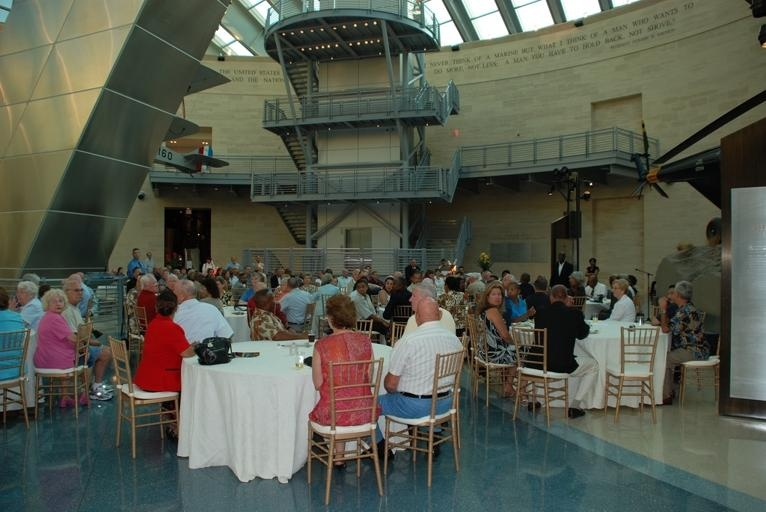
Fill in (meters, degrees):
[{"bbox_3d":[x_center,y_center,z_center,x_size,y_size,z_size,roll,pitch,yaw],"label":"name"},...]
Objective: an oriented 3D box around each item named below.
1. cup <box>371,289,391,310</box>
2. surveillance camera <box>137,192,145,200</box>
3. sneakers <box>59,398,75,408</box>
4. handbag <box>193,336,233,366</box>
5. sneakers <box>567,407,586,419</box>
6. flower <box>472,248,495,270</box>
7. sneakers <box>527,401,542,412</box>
[{"bbox_3d":[-0.065,1.043,16.492,0.423,0.557,0.420,2,1,0],"label":"cup"},{"bbox_3d":[-10.946,-2.674,31.504,0.313,0.369,0.250,3,-3,-15],"label":"surveillance camera"},{"bbox_3d":[-5.527,2.556,12.122,0.297,0.220,0.144,3,-15,-21],"label":"sneakers"},{"bbox_3d":[-2.521,1.410,10.343,0.337,0.351,0.478,0,-8,-9],"label":"handbag"},{"bbox_3d":[3.311,2.696,11.908,0.244,0.094,0.177,0,2,-23],"label":"sneakers"},{"bbox_3d":[4.251,0.140,29.219,0.425,0.425,0.707,-25,-27,-3],"label":"flower"},{"bbox_3d":[2.638,2.620,12.188,0.116,0.147,0.364,12,6,26],"label":"sneakers"}]
